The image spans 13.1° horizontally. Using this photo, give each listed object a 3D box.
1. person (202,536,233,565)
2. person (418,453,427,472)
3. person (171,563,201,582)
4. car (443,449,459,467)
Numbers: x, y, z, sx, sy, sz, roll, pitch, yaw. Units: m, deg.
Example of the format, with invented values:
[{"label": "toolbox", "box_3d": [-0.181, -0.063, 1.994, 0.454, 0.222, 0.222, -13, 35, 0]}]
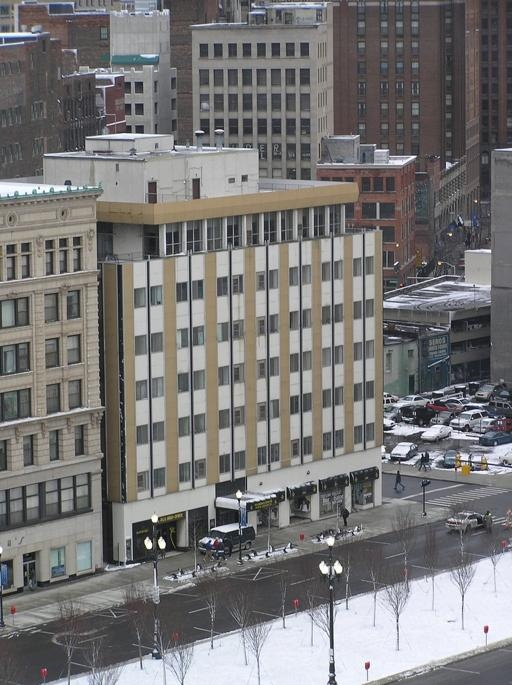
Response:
[{"label": "person", "box_3d": [-2.115, 13.093, 143.923, 1.083, 0.914, 1.619, 5, 0, -27]}, {"label": "person", "box_3d": [13.201, 8.885, 171.850, 0.747, 1.210, 2.025, -4, 6, 3]}, {"label": "person", "box_3d": [-4.100, 14.245, 140.149, 1.213, 0.618, 0.913, -5, -1, -27]}, {"label": "car", "box_3d": [15.415, 8.742, 172.513, 0.744, 1.003, 1.952, -2, -2, 6]}]
